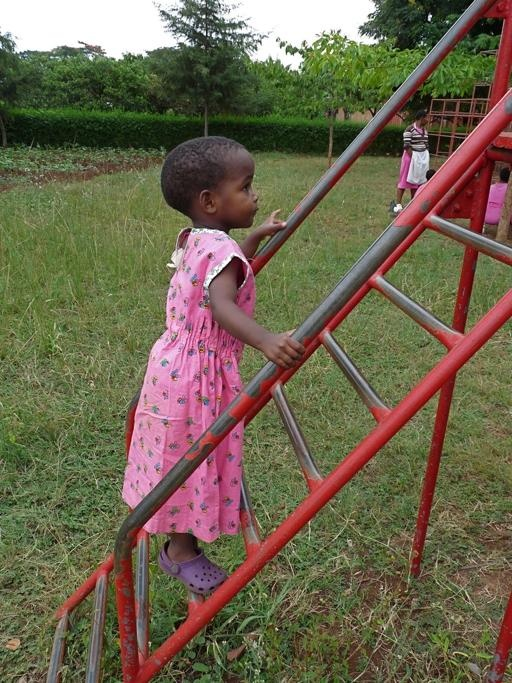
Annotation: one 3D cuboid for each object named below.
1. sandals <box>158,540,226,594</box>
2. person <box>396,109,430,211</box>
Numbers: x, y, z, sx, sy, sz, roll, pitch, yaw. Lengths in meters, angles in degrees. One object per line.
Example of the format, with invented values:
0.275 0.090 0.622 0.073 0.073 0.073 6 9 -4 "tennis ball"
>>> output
-0.156 0.521 1.367 0.166 0.057 0.094 12 17 35 "sandals"
1.895 -2.207 7.157 0.379 1.167 0.639 4 28 15 "person"
